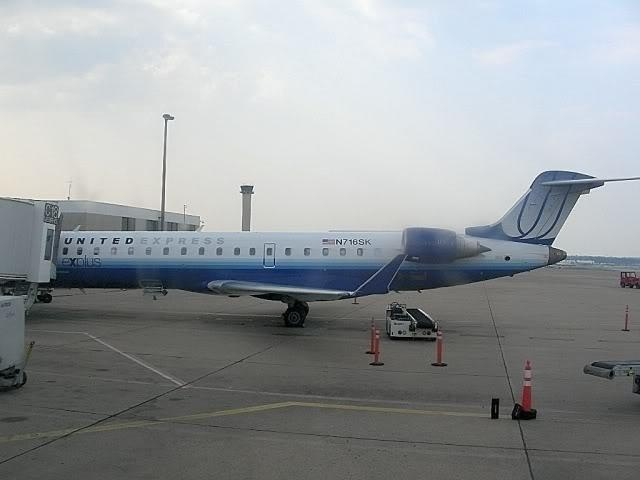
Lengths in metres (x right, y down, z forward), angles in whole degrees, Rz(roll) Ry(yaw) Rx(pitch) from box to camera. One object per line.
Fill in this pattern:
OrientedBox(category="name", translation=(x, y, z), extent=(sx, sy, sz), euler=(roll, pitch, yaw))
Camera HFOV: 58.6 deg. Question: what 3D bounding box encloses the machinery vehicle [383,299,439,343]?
OrientedBox(category="machinery vehicle", translation=(3.109, 2.874, 19.630), extent=(1.521, 0.912, 1.620), euler=(1, 3, 0))
